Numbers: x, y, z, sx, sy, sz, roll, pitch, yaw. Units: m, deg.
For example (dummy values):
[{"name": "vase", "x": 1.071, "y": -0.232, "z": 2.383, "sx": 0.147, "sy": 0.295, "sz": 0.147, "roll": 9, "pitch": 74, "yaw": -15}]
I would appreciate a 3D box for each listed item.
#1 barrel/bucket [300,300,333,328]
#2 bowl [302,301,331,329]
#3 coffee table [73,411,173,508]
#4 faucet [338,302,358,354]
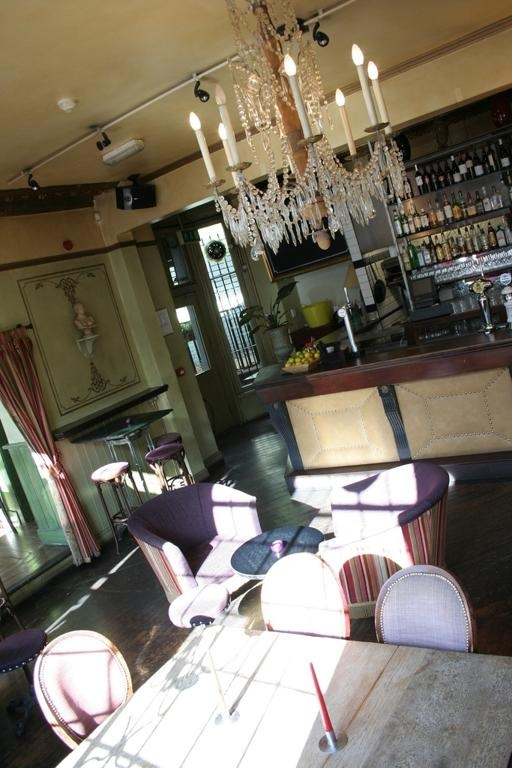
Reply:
[{"name": "barrel/bucket", "x": 0.907, "y": -1.045, "z": 7.819, "sx": 0.436, "sy": 0.328, "sz": 0.426, "roll": -5, "pitch": -1, "yaw": 0}, {"name": "bowl", "x": 0.915, "y": -1.055, "z": 7.953, "sx": 0.421, "sy": 0.318, "sz": 0.411, "roll": -5, "pitch": -1, "yaw": 0}, {"name": "coffee table", "x": -1.370, "y": 0.824, "z": 6.037, "sx": 1.002, "sy": 0.994, "sz": 1.014, "roll": 2, "pitch": 17, "yaw": 29}, {"name": "faucet", "x": 0.889, "y": -0.559, "z": 5.138, "sx": 0.107, "sy": 0.317, "sz": 0.651, "roll": -20, "pitch": 10, "yaw": 12}]
